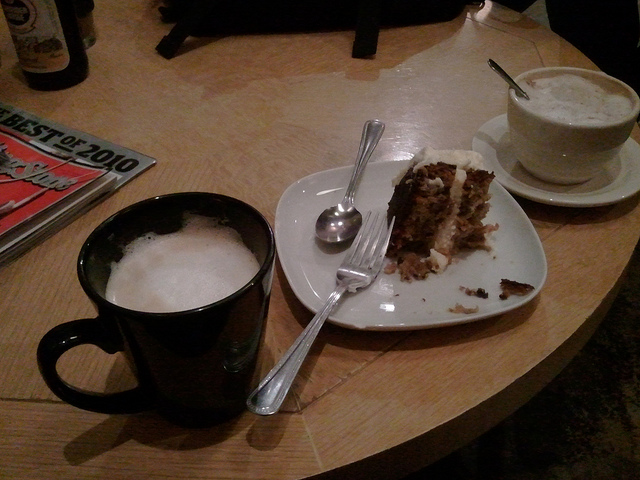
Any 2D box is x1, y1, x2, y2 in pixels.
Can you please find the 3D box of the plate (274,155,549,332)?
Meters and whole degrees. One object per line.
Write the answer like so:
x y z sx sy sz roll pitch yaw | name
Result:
0.148 0.019 0.798 0.306 0.053 0.304 -3 42 -6 | plate
